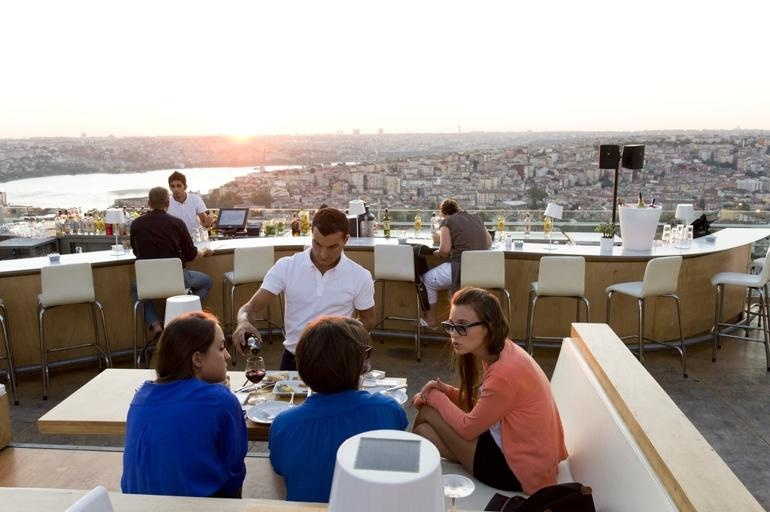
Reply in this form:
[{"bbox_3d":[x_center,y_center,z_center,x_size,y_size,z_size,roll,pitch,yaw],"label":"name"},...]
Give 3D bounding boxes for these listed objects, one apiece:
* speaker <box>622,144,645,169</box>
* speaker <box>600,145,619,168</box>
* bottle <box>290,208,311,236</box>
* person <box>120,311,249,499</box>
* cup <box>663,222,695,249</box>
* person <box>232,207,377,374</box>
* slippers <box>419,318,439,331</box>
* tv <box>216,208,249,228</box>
[{"bbox_3d":[3.254,-1.266,6.736,0.283,0.314,0.318,-1,11,15],"label":"speaker"},{"bbox_3d":[2.978,-1.304,6.881,0.297,0.323,0.199,-2,11,7],"label":"speaker"},{"bbox_3d":[-1.183,-0.466,7.390,0.351,0.503,0.348,1,16,0],"label":"bottle"},{"bbox_3d":[-0.951,0.766,2.620,0.576,0.957,0.586,5,6,36],"label":"person"},{"bbox_3d":[3.648,-0.240,6.389,0.344,0.335,0.345,-1,5,0],"label":"cup"},{"bbox_3d":[-0.507,0.541,3.512,0.907,1.631,0.822,2,13,-10],"label":"person"},{"bbox_3d":[0.527,0.827,6.196,0.247,0.091,0.091,3,10,-15],"label":"slippers"},{"bbox_3d":[-2.176,-0.527,7.477,0.274,0.243,0.098,1,-25,0],"label":"tv"}]
